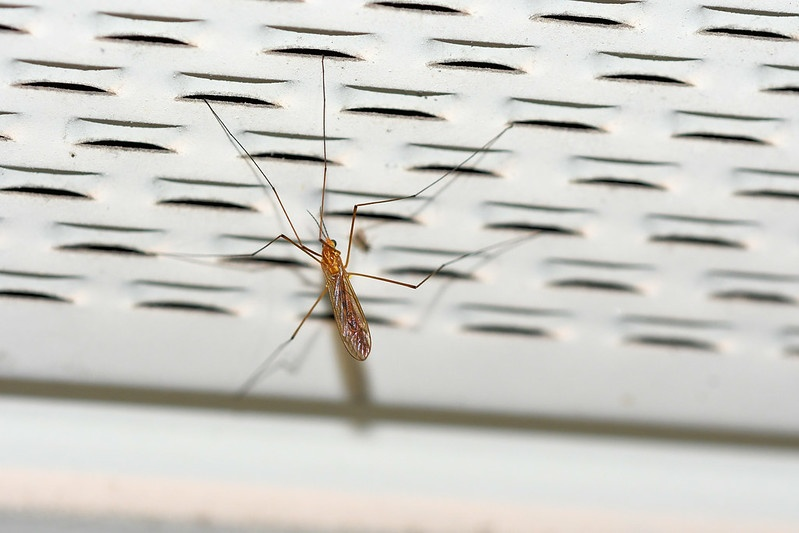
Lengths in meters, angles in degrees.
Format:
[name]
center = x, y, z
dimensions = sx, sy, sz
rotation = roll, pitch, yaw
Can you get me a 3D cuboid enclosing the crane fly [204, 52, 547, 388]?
[crane fly]
center = -0.049, -0.054, 2.076
dimensions = 0.551, 0.560, 0.557
rotation = 3, -4, -7
